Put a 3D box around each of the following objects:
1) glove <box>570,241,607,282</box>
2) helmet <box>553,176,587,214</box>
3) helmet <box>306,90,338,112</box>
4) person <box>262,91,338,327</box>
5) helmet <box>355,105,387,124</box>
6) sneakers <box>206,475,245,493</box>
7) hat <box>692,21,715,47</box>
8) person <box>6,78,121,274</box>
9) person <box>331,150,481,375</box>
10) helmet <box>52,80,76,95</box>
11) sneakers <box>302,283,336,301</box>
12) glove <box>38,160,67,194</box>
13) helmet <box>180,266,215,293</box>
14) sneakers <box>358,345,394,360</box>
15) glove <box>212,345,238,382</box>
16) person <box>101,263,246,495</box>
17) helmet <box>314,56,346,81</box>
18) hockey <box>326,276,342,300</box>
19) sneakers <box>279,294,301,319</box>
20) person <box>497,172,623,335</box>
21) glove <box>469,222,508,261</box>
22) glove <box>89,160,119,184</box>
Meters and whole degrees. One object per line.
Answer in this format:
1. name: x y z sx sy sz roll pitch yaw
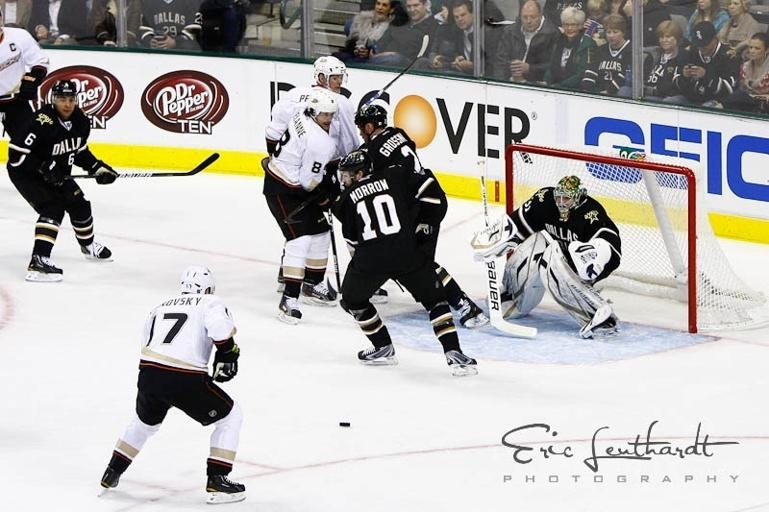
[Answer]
1. glove: 1.471 0.035 6.310 0.251 0.285 0.144 -4 -1 19
2. helmet: 1.346 -0.453 6.441 0.223 0.240 0.285 8 26 38
3. helmet: -0.437 -1.168 6.508 0.233 0.203 0.164 6 46 6
4. person: -0.599 -0.416 6.815 0.590 1.769 0.619 2 12 -17
5. helmet: -0.097 -1.072 6.754 0.198 0.163 0.146 13 5 19
6. sneakers: -0.832 1.183 4.590 0.240 0.091 0.078 0 4 -10
7. hat: 2.848 -1.958 7.806 0.171 0.203 0.118 11 -21 38
8. person: -2.746 -0.653 7.454 0.551 1.656 0.750 14 14 35
9. person: 0.100 0.042 5.882 0.937 1.422 0.562 5 12 -2
10. helmet: -2.595 -1.359 7.122 0.178 0.123 0.165 0 12 -22
11. sneakers: -0.528 0.288 7.106 0.321 0.122 0.114 4 14 13
12. glove: -2.743 -0.680 7.309 0.139 0.236 0.217 12 13 30
13. helmet: -1.023 0.130 4.761 0.145 0.138 0.172 2 14 27
14. sneakers: -0.027 0.647 6.018 0.293 0.121 0.089 2 11 3
15. glove: -0.827 0.566 4.662 0.157 0.180 0.080 8 -3 15
16. person: -1.062 0.674 4.637 0.776 1.179 0.434 5 12 0
17. helmet: -0.445 -1.520 7.122 0.250 0.204 0.184 -2 19 7
18. hockey: -0.410 0.260 7.252 0.153 0.178 0.158 -3 3 -6
19. sneakers: -0.720 0.389 6.716 0.177 0.178 0.122 4 11 -7
20. person: 1.376 -0.023 6.688 0.778 1.088 1.221 -8 15 -30
21. glove: 0.764 -0.110 6.450 0.313 0.127 0.244 -47 24 -19
22. glove: -2.401 -0.713 7.610 0.224 0.093 0.219 36 4 5
